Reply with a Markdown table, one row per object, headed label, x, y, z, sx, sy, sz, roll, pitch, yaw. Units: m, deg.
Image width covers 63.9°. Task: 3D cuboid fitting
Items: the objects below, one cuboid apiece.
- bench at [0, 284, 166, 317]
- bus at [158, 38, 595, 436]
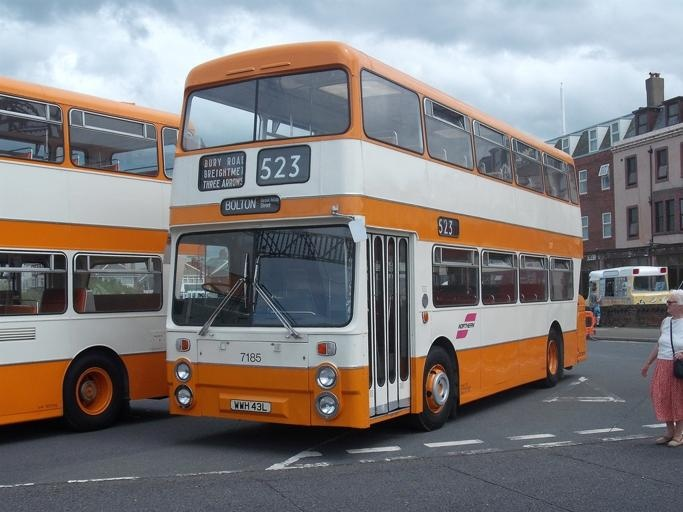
| label | x | y | z | sx | sy | sz | roll | pitch | yaw |
| --- | --- | --- | --- | --- | --- | --- | --- | --- | --- |
| bench | -4.501 | 0.749 | 9.289 | 3.224 | 0.514 | 0.316 | 7 | -3 | -45 |
| bus | 0.618 | 0.026 | 11.343 | 3.652 | 5.628 | 10.574 | -2 | -4 | 35 |
